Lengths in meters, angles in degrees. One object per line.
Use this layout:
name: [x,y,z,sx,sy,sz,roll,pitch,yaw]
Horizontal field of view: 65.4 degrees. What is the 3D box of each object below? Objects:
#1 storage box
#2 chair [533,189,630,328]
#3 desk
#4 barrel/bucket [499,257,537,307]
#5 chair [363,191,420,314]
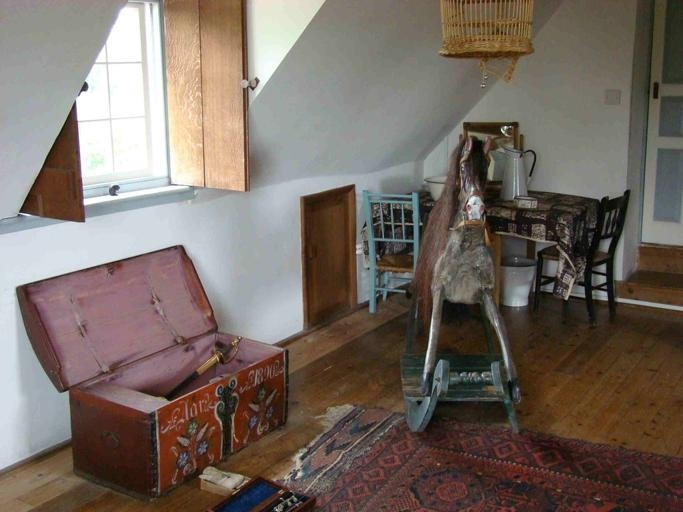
storage box: [-0.886,0.508,2.717,0.798,0.933,1.037,3,10,21]
chair: [2.009,-0.019,4.495,0.591,1.021,0.552,10,17,41]
desk: [1.059,-0.297,4.420,1.487,0.765,1.136,9,24,28]
barrel/bucket: [1.530,0.238,4.764,0.370,0.397,0.375,-4,12,1]
chair: [0.471,-0.042,4.508,0.485,1.037,0.488,0,13,9]
